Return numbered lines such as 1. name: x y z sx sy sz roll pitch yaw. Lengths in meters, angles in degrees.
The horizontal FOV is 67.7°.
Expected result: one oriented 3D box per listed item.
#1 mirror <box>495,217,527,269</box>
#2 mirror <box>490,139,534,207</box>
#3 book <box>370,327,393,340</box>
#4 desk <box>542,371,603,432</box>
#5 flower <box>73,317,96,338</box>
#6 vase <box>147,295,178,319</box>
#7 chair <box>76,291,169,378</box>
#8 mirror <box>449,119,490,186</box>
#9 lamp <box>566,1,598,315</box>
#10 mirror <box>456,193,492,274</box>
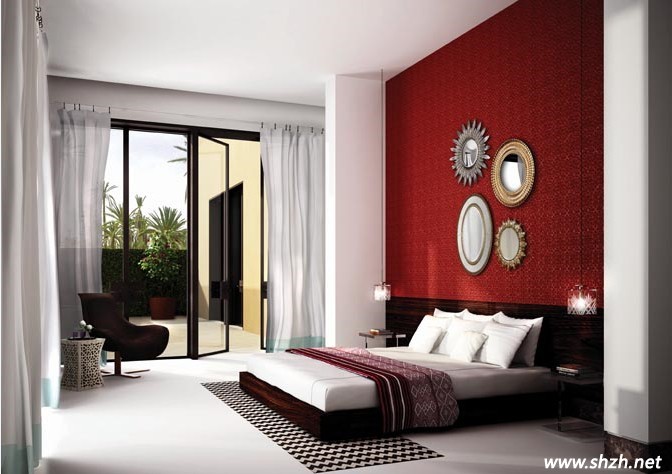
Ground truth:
1. mirror: 1.926 0.084 5.502 0.050 0.539 0.434 0 -1 -24
2. mirror: 1.940 -0.689 5.491 0.078 0.730 0.593 0 -1 -24
3. book: 0.624 1.348 6.890 0.304 0.168 0.463 0 -2 4
4. desk: 2.220 1.478 4.587 0.411 0.542 0.704 -1 -2 28
5. flower: -3.189 1.159 6.295 0.236 0.285 0.283 -6 -9 39
6. vase: -2.788 1.132 7.955 0.354 0.264 0.356 0 -6 4
7. chair: -2.945 1.308 6.937 1.176 1.156 1.064 -4 -7 32
8. mirror: 1.630 -1.004 6.072 0.076 0.785 0.643 0 -1 -26
9. lamp: 2.254 -0.771 4.563 0.233 3.032 0.570 0 -1 27
10. mirror: 1.651 -0.018 5.960 0.098 0.952 0.552 0 -1 -22
